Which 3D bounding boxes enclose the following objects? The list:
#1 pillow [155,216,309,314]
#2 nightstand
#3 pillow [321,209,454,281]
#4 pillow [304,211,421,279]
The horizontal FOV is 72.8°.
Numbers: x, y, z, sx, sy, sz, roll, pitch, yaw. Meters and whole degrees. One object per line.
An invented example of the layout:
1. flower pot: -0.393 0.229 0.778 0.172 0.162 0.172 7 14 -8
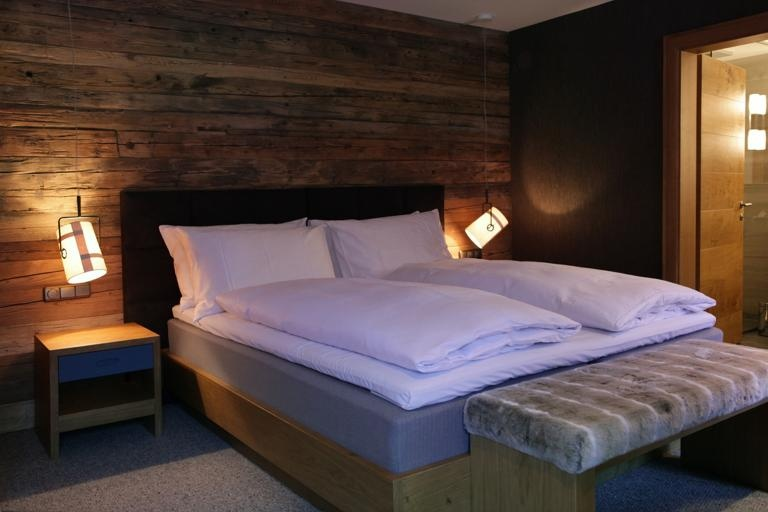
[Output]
1. pillow: -1.319 0.056 3.624 0.783 0.598 0.201 -10 7 -31
2. nightstand: -1.818 0.801 3.289 0.527 0.498 0.676 3 2 43
3. pillow: 0.044 -0.101 4.027 0.969 0.498 0.234 -8 -15 -28
4. pillow: -0.081 -0.059 4.137 0.844 0.452 0.199 -7 -15 -27
